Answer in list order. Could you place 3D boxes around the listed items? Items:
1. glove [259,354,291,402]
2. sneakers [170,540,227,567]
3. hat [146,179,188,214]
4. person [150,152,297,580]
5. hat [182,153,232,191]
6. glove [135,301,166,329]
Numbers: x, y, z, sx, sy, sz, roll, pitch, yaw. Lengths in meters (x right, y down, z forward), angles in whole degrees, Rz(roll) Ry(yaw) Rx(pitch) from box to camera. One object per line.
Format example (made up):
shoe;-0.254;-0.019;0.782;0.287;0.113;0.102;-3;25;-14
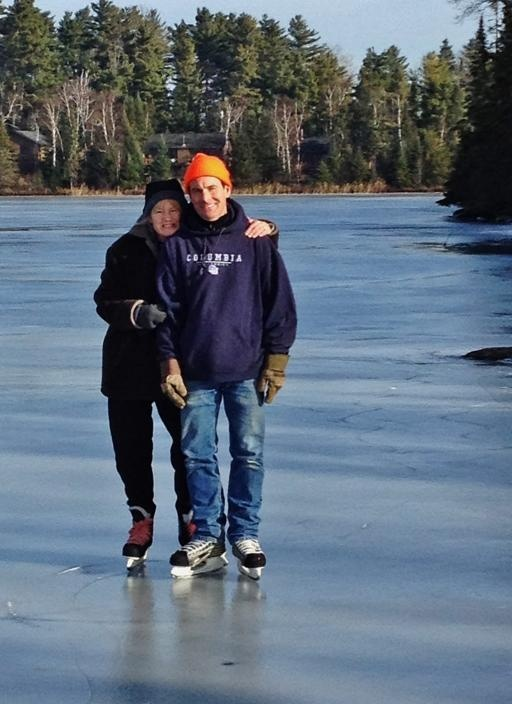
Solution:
glove;0.078;0.107;4.787;0.141;0.197;0.059;13;4;-2
sneakers;-0.235;0.847;4.599;0.097;0.115;0.327;3;7;26
hat;-0.393;-0.701;4.860;0.164;0.117;0.175;-9;-14;-3
person;-0.118;0.038;4.666;0.590;1.754;0.672;-1;7;-1
hat;-0.219;-0.776;4.759;0.164;0.157;0.201;-4;16;17
glove;-0.457;-0.148;4.663;0.121;0.112;0.217;-3;7;-21
